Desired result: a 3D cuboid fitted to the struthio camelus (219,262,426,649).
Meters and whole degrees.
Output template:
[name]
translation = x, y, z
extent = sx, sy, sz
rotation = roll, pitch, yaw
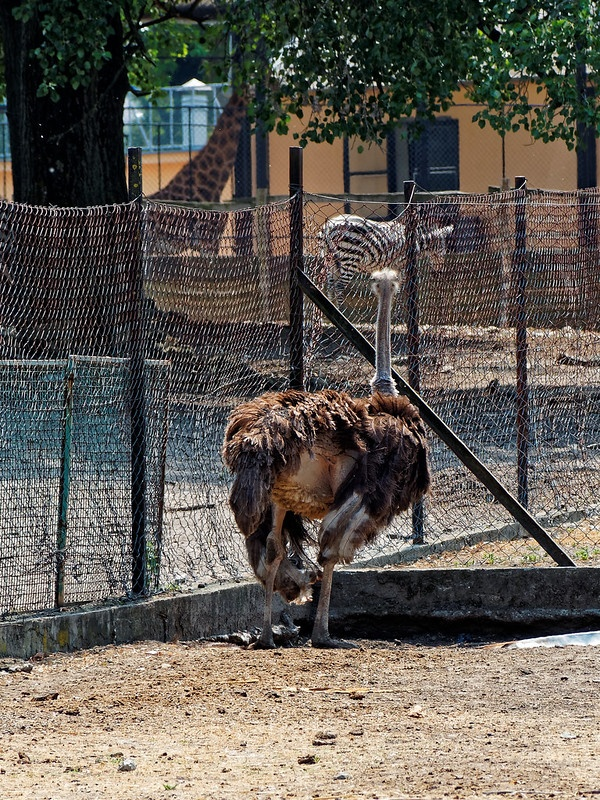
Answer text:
[struthio camelus]
translation = 0.146, 0.666, 12.046
extent = 1.120, 1.400, 0.653
rotation = -2, 8, -12
